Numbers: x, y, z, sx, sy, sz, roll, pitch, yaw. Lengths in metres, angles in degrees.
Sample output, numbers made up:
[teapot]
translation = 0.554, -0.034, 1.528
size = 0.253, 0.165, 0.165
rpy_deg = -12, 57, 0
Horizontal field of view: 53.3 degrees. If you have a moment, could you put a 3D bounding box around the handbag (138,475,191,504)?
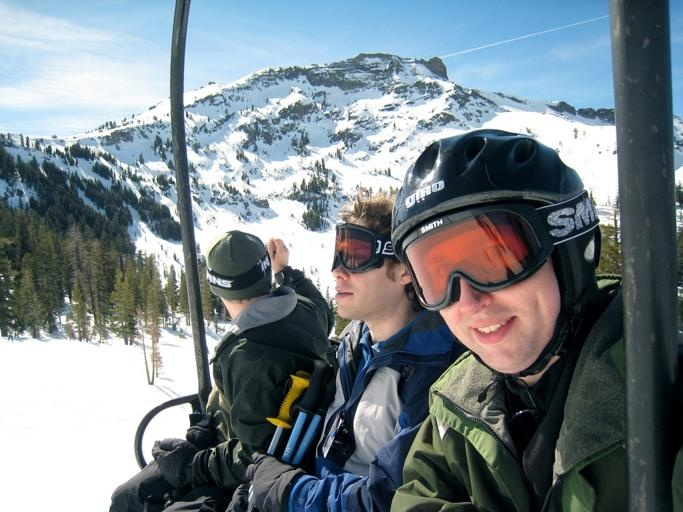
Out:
[handbag]
translation = -1.295, 1.728, 4.944
size = 0.239, 0.096, 0.215
rpy_deg = 2, 2, 25

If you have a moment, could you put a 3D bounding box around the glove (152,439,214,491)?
[glove]
translation = -1.157, 1.458, 4.932
size = 0.171, 0.274, 0.422
rpy_deg = 0, 23, -44

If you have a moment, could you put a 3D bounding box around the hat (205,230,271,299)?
[hat]
translation = -0.788, 0.032, 5.418
size = 0.376, 0.486, 0.564
rpy_deg = -6, 20, 2
